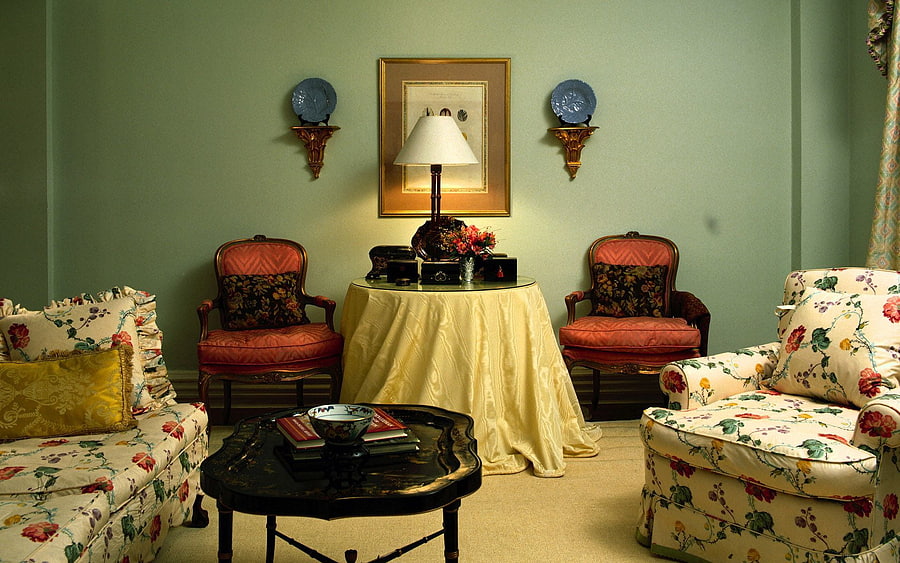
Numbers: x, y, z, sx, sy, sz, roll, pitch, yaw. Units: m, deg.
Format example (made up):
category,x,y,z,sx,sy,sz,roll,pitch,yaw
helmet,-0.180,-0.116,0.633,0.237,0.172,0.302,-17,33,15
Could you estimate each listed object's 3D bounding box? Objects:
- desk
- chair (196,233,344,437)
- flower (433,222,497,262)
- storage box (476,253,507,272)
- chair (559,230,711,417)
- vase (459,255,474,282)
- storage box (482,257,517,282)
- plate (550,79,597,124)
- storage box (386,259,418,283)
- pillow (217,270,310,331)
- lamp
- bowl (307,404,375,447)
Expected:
category,x,y,z,sx,sy,sz,roll,pitch,yaw
desk,0.060,0.599,4.798,1.905,0.979,1.564,3,-5,12
chair,-1.326,0.276,5.059,1.190,1.609,1.244,-1,1,-14
flower,0.098,-0.264,4.627,0.252,0.228,0.385,-3,7,-31
storage box,0.262,-0.134,4.589,0.150,0.138,0.100,3,-6,-3
chair,1.330,0.311,4.921,0.996,1.262,0.958,1,6,25
vase,0.109,-0.079,4.522,0.137,0.208,0.134,1,5,-1
storage box,0.318,-0.078,4.566,0.174,0.116,0.180,0,0,-9
plate,0.921,-1.337,5.230,0.350,0.349,0.134,1,7,6
storage box,-0.308,-0.070,4.532,0.257,0.174,0.135,1,6,3
pillow,-1.313,0.129,4.887,0.408,0.265,0.140,-5,-27,-14
lamp,-0.111,-0.667,4.867,0.527,0.989,0.593,0,6,-4
bowl,-0.478,0.602,3.018,0.202,0.089,0.200,0,-2,0
